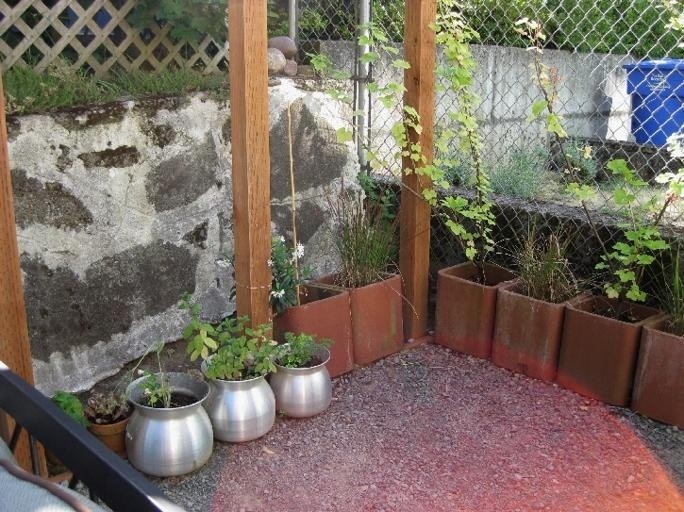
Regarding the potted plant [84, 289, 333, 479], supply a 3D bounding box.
[{"bbox_3d":[-0.477,0.622,2.482,1.004,0.471,0.323,-7,13,-44],"label":"potted plant"}]
